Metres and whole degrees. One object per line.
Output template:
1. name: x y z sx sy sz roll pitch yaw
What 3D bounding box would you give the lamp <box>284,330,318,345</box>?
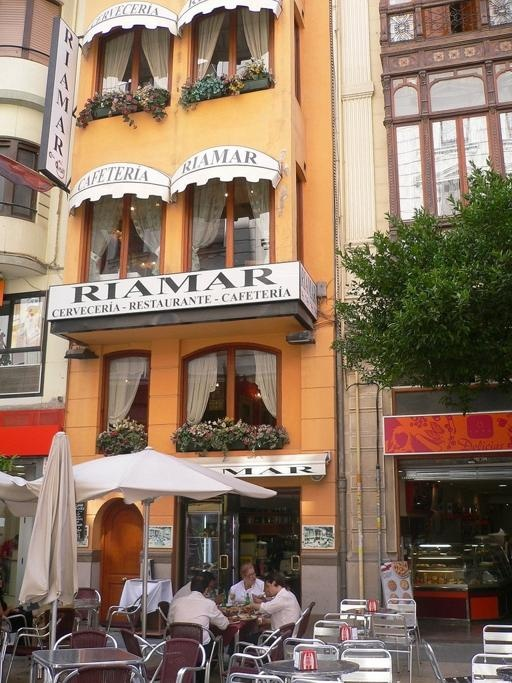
1. lamp: 0.810 -0.076 14.054 0.490 0.233 0.330 -3 -15 6

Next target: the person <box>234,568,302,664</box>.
1. person: 0.267 3.323 9.424 0.634 0.909 0.432 -2 -5 17

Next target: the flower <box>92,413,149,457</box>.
1. flower: -2.603 1.869 15.059 0.875 0.595 0.818 0 -14 -14

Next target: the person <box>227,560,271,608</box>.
1. person: -0.136 3.353 10.618 0.637 0.883 0.517 -1 -39 2

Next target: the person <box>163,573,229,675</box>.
1. person: -0.653 3.191 8.786 0.632 1.147 0.672 4 -1 30

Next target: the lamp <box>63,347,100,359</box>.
1. lamp: -3.516 0.240 15.532 0.551 0.221 0.408 -7 -16 20

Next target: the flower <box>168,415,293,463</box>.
1. flower: -0.490 1.802 14.450 1.915 0.650 0.669 4 -3 9

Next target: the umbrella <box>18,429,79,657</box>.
1. umbrella: -2.032 1.923 7.683 0.531 2.088 0.622 2 -16 -13
